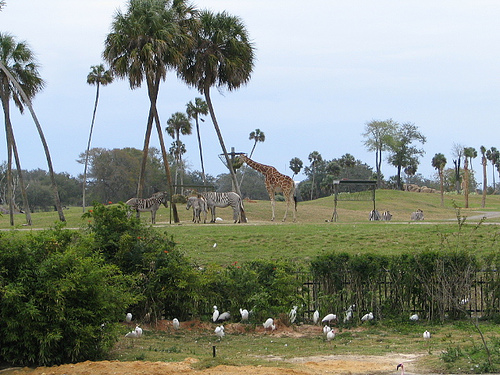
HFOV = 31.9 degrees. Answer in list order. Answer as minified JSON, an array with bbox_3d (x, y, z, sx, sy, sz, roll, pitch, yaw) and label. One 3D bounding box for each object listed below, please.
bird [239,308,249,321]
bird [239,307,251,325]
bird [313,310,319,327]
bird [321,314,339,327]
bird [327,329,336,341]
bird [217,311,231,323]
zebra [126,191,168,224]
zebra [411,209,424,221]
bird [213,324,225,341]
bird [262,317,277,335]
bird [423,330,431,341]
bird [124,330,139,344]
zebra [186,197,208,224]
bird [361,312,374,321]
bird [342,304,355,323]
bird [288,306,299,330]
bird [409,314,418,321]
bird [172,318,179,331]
[{"bbox_3d":[-0.251,5.661,38.596,0.389,0.699,0.927,-1,14,-1],"label":"bird"},{"bbox_3d":[-0.195,5.678,38.672,0.476,0.772,1.057,-1,14,-3],"label":"bird"},{"bbox_3d":[2.926,5.825,38.714,0.232,0.812,0.819,1,14,7],"label":"bird"},{"bbox_3d":[3.477,5.721,38.075,0.257,0.387,0.836,-3,-15,37],"label":"bird"},{"bbox_3d":[3.356,6.129,36.204,0.238,0.379,0.495,2,10,7],"label":"bird"},{"bbox_3d":[-1.136,5.725,38.643,0.525,0.660,0.968,-1,14,-2],"label":"bird"},{"bbox_3d":[-6.445,1.264,54.762,2.675,2.129,0.687,-1,5,-3],"label":"zebra"},{"bbox_3d":[13.728,2.228,71.803,0.457,0.979,1.600,9,-3,16],"label":"zebra"},{"bbox_3d":[-1.329,6.035,36.435,0.240,0.537,0.804,2,-21,9],"label":"bird"},{"bbox_3d":[0.861,5.979,37.673,0.570,0.650,0.283,0,-1,43],"label":"bird"},{"bbox_3d":[7.378,6.191,36.504,0.185,0.295,0.421,-1,-6,2],"label":"bird"},{"bbox_3d":[-4.894,6.231,36.278,0.441,0.348,0.487,2,5,-7],"label":"bird"},{"bbox_3d":[-3.360,1.355,56.355,0.627,1.806,2.447,1,-5,-35],"label":"zebra"},{"bbox_3d":[5.132,5.689,38.380,0.548,0.416,0.204,-3,4,11],"label":"bird"},{"bbox_3d":[4.381,5.625,38.820,0.154,0.755,0.403,11,-23,41],"label":"bird"},{"bbox_3d":[1.880,5.764,38.676,0.520,1.113,0.427,9,25,-2],"label":"bird"},{"bbox_3d":[7.180,5.731,38.285,0.409,0.291,0.278,-2,14,-7],"label":"bird"},{"bbox_3d":[-3.148,5.895,37.530,0.248,0.575,0.564,0,-22,3],"label":"bird"}]
